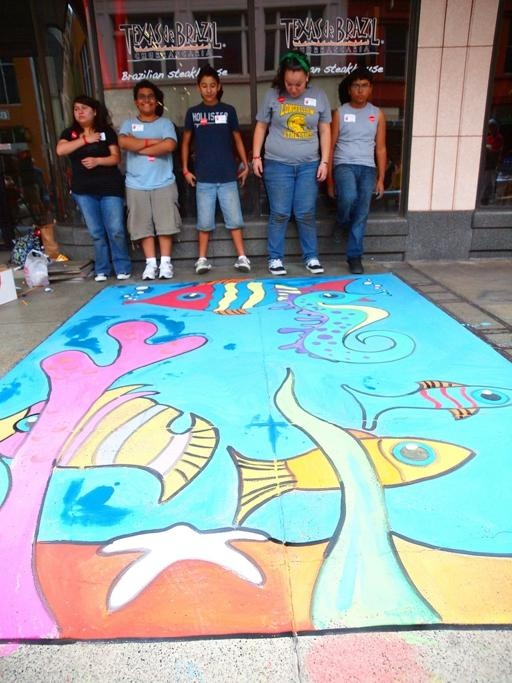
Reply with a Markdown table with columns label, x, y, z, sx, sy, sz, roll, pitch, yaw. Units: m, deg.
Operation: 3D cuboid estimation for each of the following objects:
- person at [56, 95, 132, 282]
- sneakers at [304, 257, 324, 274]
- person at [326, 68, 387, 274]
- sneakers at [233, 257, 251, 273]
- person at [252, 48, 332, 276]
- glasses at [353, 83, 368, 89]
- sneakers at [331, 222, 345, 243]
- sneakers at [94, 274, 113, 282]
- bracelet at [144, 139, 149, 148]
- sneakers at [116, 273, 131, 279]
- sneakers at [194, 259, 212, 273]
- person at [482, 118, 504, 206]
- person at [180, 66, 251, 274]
| label | x | y | z | sx | sy | sz | roll | pitch | yaw |
| --- | --- | --- | --- | --- | --- | --- | --- | --- | --- |
| person | -1.461 | -1.371 | 4.552 | 0.519 | 1.591 | 0.511 | -7 | 27 | -12 |
| sneakers | 0.554 | -0.721 | 4.671 | 0.090 | 0.086 | 0.246 | -13 | 18 | -6 |
| person | 0.917 | -1.552 | 4.593 | 0.512 | 1.719 | 0.835 | 4 | 26 | 11 |
| sneakers | -0.128 | -0.757 | 4.780 | 0.087 | 0.096 | 0.233 | 23 | 4 | -18 |
| person | 0.313 | -1.584 | 4.428 | 0.670 | 1.700 | 0.372 | 0 | 26 | 2 |
| glasses | 0.892 | -2.215 | 4.270 | 0.095 | 0.051 | 0.030 | 0 | 26 | 1 |
| sneakers | 0.817 | -1.090 | 4.939 | 0.102 | 0.097 | 0.224 | 0 | 42 | -2 |
| sneakers | -1.453 | -0.618 | 4.756 | 0.091 | 0.092 | 0.227 | -3 | 3 | -11 |
| bracelet | -0.964 | -1.766 | 4.415 | 0.043 | 0.059 | 0.047 | -7 | 26 | -12 |
| sneakers | -1.259 | -0.628 | 4.711 | 0.046 | 0.055 | 0.128 | -1 | -1 | 7 |
| sneakers | -0.504 | -0.738 | 4.788 | 0.090 | 0.102 | 0.229 | -36 | 8 | 7 |
| person | 2.397 | -1.833 | 5.047 | 0.191 | 0.826 | 0.186 | 3 | 26 | 9 |
| person | -0.371 | -1.584 | 4.673 | 0.619 | 1.788 | 0.814 | -2 | 26 | -1 |
